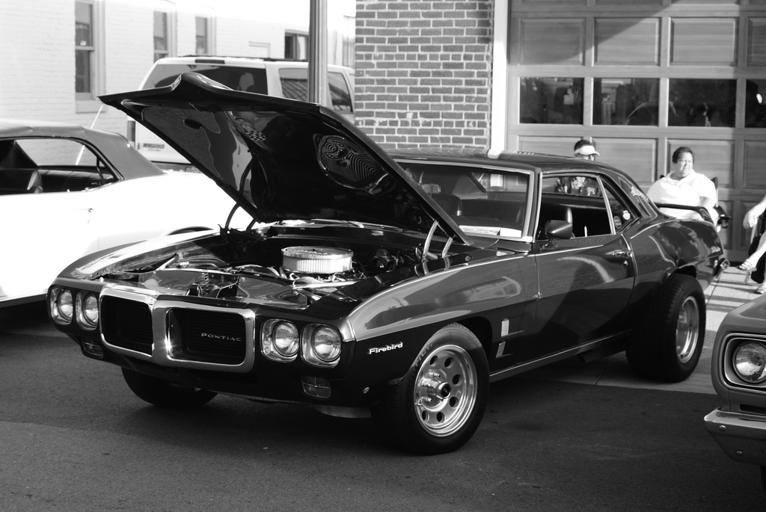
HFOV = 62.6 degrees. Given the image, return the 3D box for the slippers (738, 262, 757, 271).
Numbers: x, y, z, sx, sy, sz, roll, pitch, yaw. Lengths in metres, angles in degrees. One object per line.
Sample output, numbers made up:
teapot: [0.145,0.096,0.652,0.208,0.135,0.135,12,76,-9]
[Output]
slippers: [4.882,0.149,8.490,0.308,0.093,0.124,6,-11,-31]

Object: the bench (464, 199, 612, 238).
bench: [1.191,-0.295,4.904,0.564,0.364,0.356,3,2,-6]

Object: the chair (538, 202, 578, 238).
chair: [1.547,-0.283,5.434,0.325,0.200,0.447,2,-5,26]

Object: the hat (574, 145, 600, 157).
hat: [2.772,-1.418,8.535,0.225,0.103,0.327,4,3,44]

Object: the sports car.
sports car: [0.495,0.035,5.237,2.629,1.970,4.911,1,2,44]
